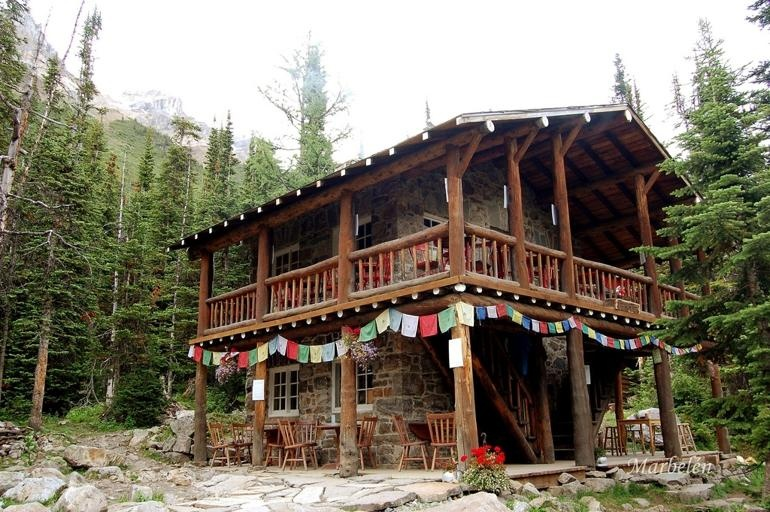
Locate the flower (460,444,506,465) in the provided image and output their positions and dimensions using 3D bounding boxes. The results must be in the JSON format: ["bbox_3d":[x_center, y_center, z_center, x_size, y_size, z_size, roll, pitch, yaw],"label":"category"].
[{"bbox_3d":[2.252,4.658,13.641,0.977,0.447,0.710,-2,-5,-1],"label":"flower"}]

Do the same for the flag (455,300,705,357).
[{"bbox_3d":[5.232,1.893,16.211,5.361,0.756,0.328,16,-38,-17],"label":"flag"}]

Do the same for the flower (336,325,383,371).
[{"bbox_3d":[-0.777,2.453,16.058,1.177,1.204,0.688,-5,-32,-25],"label":"flower"}]
